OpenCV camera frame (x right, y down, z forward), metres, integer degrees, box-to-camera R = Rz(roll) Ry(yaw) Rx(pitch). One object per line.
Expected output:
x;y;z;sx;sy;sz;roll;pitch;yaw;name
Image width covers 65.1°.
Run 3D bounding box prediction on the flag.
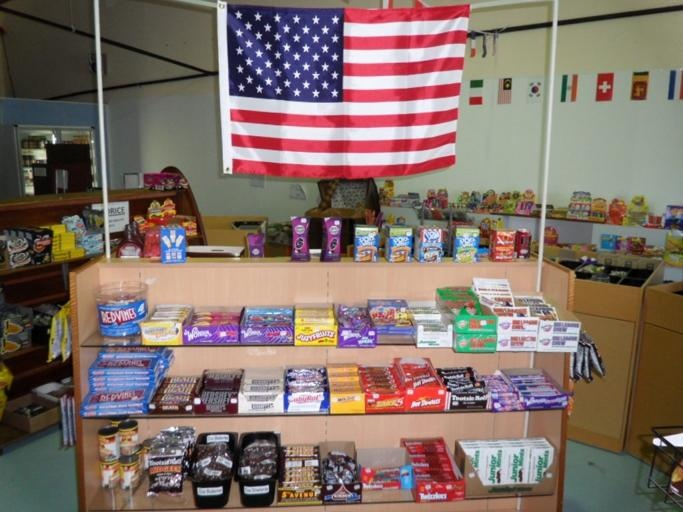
-0.027;-1.224;3.960;1.264;0.971;0.096;-1;12;-6;flag
